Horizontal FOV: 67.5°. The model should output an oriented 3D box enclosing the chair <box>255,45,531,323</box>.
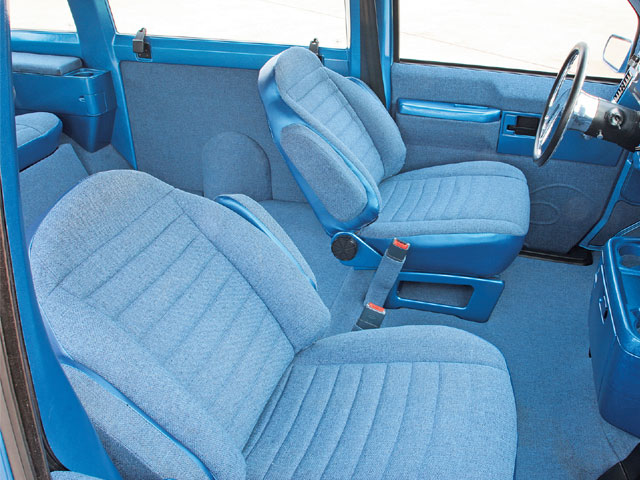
[{"bbox_3d":[0.315,-0.252,1.907,0.923,1.050,0.705,5,31,25],"label":"chair"}]
